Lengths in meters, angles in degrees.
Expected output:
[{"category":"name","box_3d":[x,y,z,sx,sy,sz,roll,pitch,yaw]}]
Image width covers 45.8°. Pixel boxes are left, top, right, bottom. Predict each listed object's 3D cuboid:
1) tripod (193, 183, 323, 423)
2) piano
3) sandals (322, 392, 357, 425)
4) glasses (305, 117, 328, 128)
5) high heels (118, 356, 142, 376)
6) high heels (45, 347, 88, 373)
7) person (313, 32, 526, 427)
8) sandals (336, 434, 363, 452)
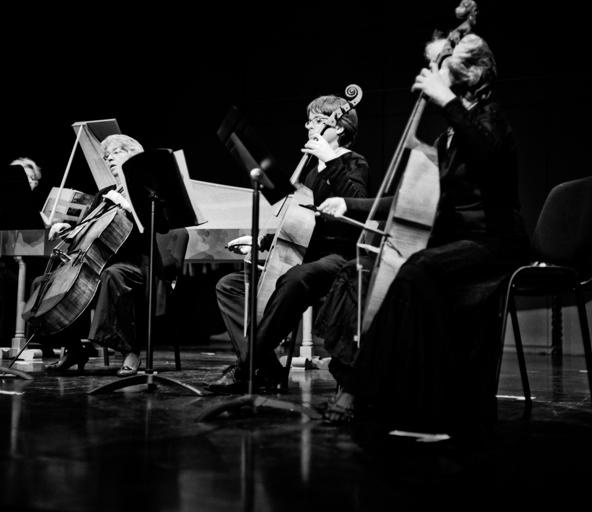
[{"category":"tripod","box_3d":[-0.175,0.103,2.624,0.492,1.006,0.413,12,-30,-24]},{"category":"piano","box_3d":[-0.649,0.056,3.688,1.115,1.020,0.837,-10,-12,14]},{"category":"sandals","box_3d":[0.147,0.525,2.403,0.083,0.112,0.038,-12,-52,27]},{"category":"glasses","box_3d":[0.080,-0.580,3.091,0.067,0.033,0.073,9,-12,-35]},{"category":"high heels","box_3d":[-0.885,0.575,3.656,0.080,0.090,0.233,-2,-13,2]},{"category":"high heels","box_3d":[-1.318,0.585,3.969,0.337,0.158,0.110,-1,-2,-5]},{"category":"person","box_3d":[0.473,-0.124,2.501,0.718,1.381,0.430,1,-1,-20]},{"category":"sandals","box_3d":[0.148,0.562,2.102,0.070,0.002,0.187,1,-1,-11]}]
